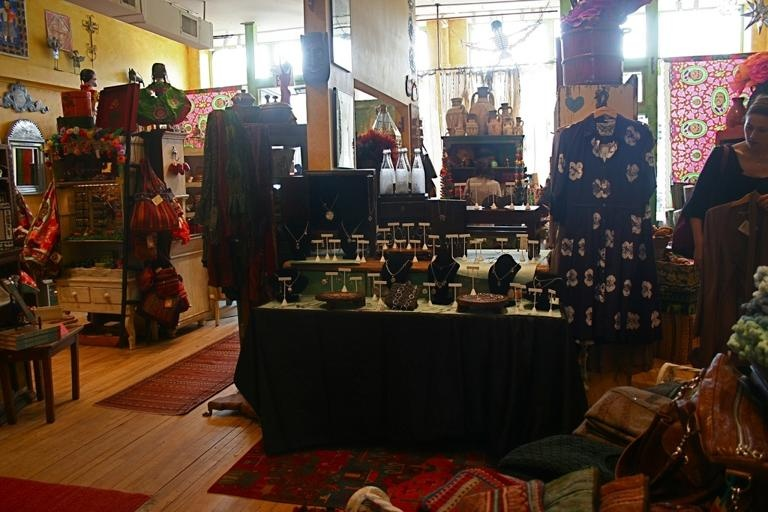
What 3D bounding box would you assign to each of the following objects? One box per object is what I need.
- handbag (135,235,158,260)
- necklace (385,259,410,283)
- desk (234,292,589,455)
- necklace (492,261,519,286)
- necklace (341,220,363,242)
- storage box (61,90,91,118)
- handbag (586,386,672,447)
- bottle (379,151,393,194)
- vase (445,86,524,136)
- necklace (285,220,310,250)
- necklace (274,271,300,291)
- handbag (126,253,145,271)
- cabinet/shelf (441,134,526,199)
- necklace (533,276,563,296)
[{"bbox_3d":[-2.675,-0.100,6.834,0.237,0.276,0.151,-6,12,-30],"label":"handbag"},{"bbox_3d":[0.123,0.145,5.038,0.276,0.252,0.153,-1,-3,16],"label":"necklace"},{"bbox_3d":[0.271,0.764,4.929,2.130,0.854,1.208,2,6,11],"label":"desk"},{"bbox_3d":[0.959,0.147,4.750,0.147,0.139,0.172,-10,-21,31],"label":"necklace"},{"bbox_3d":[-0.294,-0.218,5.433,0.183,0.174,0.045,-5,-1,7],"label":"necklace"},{"bbox_3d":[-3.716,-1.836,7.347,0.414,0.310,0.162,3,13,15],"label":"storage box"},{"bbox_3d":[1.511,0.943,3.828,0.417,0.126,0.411,-12,9,-36],"label":"handbag"},{"bbox_3d":[0.038,-0.783,5.631,0.146,0.378,0.345,0,13,1],"label":"bottle"},{"bbox_3d":[1.463,-2.109,8.797,1.095,0.698,0.469,1,13,6],"label":"vase"},{"bbox_3d":[-0.774,-0.180,5.487,0.196,0.213,0.064,-3,13,-9],"label":"necklace"},{"bbox_3d":[-0.777,0.203,4.969,0.203,0.143,0.149,7,15,30],"label":"necklace"},{"bbox_3d":[-2.865,0.073,7.020,0.047,0.194,0.199,-7,-8,31],"label":"handbag"},{"bbox_3d":[1.427,-1.256,8.526,1.144,1.079,0.441,0,2,6],"label":"cabinet/shelf"},{"bbox_3d":[1.260,0.236,4.562,0.236,0.162,0.161,-4,14,-15],"label":"necklace"}]
